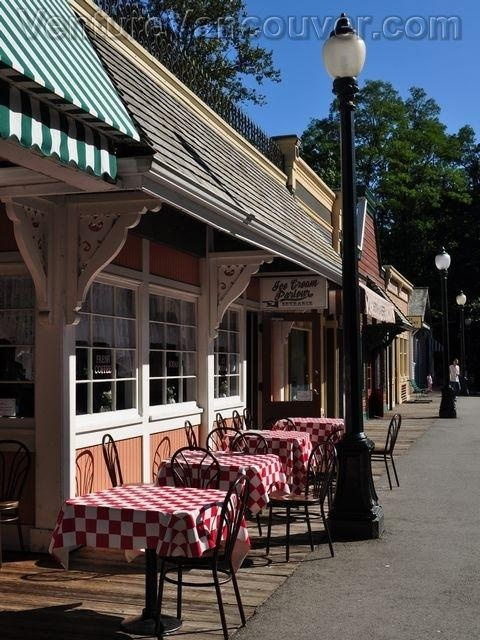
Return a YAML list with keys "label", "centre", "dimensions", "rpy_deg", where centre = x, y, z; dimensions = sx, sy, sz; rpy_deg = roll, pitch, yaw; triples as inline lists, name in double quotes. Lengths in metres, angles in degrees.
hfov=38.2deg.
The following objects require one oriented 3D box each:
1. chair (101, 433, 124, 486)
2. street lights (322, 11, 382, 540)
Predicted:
- label: "chair"
  centre: [-1.105, 1.216, 6.024]
  dimensions: [0.161, 0.453, 0.670]
  rpy_deg: [-1, -8, -10]
- label: "street lights"
  centre: [0.904, -0.426, 5.925]
  dimensions: [0.446, 4.505, 0.638]
  rpy_deg: [-2, -5, 8]
